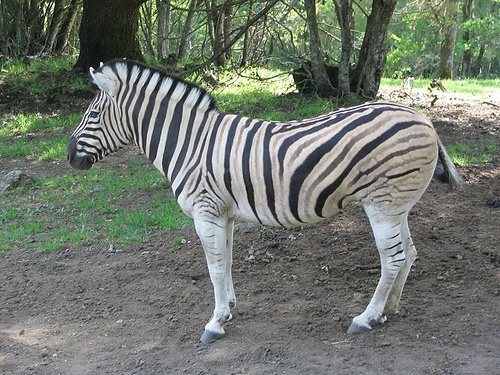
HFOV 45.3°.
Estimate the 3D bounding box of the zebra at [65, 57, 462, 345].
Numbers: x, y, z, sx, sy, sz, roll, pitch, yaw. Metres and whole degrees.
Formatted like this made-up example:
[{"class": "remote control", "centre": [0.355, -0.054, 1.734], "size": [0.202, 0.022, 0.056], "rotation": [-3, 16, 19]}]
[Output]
[{"class": "zebra", "centre": [0.127, 0.179, 7.048], "size": [4.596, 3.229, 1.184], "rotation": [1, 13, 8]}]
